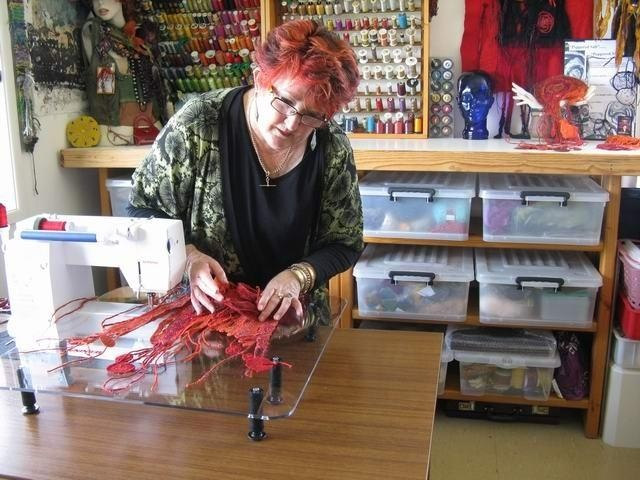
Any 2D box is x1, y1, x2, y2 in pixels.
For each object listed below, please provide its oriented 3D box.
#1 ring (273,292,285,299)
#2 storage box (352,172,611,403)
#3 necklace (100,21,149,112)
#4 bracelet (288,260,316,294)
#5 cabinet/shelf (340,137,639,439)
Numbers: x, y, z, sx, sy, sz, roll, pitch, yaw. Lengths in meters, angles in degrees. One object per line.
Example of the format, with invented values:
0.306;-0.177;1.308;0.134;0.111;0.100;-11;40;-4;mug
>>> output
-0.122;0.161;1.502;0.030;0.019;0.018;-2;14;-2;ring
0.837;0.084;2.658;1.400;0.703;0.753;1;23;5;storage box
-1.155;-1.039;3.066;0.280;0.440;0.177;-4;11;-25;necklace
-0.050;0.110;1.620;0.084;0.092;0.095;-7;14;9;bracelet
0.809;0.216;2.345;1.465;1.323;0.625;2;18;6;cabinet/shelf
